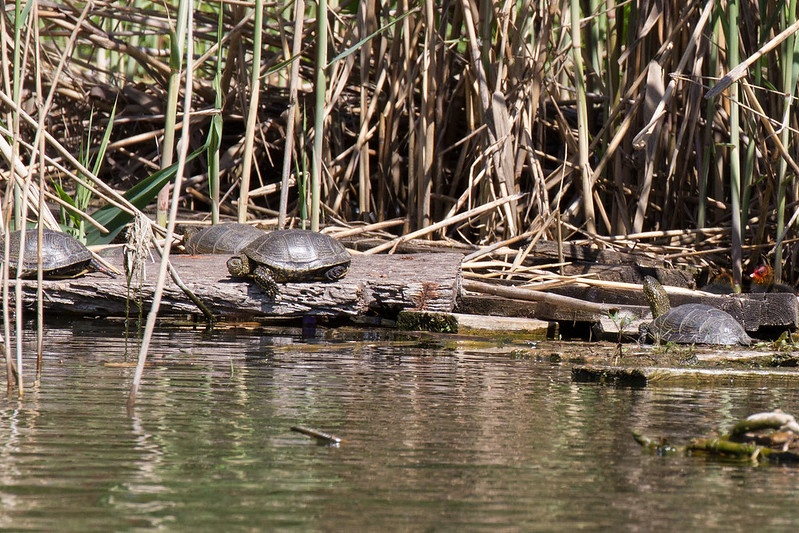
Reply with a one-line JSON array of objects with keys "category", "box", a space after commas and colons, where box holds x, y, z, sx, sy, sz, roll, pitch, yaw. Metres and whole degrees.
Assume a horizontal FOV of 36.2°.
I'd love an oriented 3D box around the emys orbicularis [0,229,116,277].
[{"category": "emys orbicularis", "box": [-3.201, -0.103, 11.203, 0.886, 0.256, 0.584, 3, -1, 3]}]
